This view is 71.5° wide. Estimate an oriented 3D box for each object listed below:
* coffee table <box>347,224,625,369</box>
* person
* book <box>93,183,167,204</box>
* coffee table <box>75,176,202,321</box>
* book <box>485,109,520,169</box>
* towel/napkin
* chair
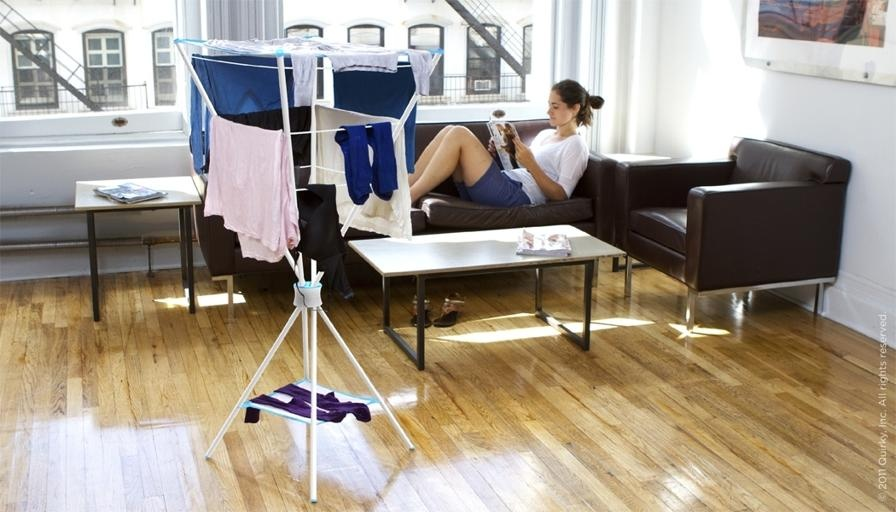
[{"bbox_3d":[0.202,0.224,4.072,1.563,0.661,0.767,-6,22,-11],"label":"coffee table"},{"bbox_3d":[0.301,-0.862,4.941,1.802,0.883,0.734,-1,19,-3],"label":"person"},{"bbox_3d":[-2.171,-0.433,4.254,0.476,0.063,0.340,17,28,41],"label":"book"},{"bbox_3d":[-2.174,-0.070,4.421,0.727,0.597,0.625,-5,6,-26],"label":"coffee table"},{"bbox_3d":[0.451,-0.933,5.006,0.251,0.446,0.126,-11,17,34],"label":"book"},{"bbox_3d":[-0.759,-0.552,3.536,1.413,1.197,1.204,-11,20,-37],"label":"towel/napkin"},{"bbox_3d":[2.005,-0.222,4.521,1.274,1.094,1.005,-7,22,-13],"label":"chair"}]
